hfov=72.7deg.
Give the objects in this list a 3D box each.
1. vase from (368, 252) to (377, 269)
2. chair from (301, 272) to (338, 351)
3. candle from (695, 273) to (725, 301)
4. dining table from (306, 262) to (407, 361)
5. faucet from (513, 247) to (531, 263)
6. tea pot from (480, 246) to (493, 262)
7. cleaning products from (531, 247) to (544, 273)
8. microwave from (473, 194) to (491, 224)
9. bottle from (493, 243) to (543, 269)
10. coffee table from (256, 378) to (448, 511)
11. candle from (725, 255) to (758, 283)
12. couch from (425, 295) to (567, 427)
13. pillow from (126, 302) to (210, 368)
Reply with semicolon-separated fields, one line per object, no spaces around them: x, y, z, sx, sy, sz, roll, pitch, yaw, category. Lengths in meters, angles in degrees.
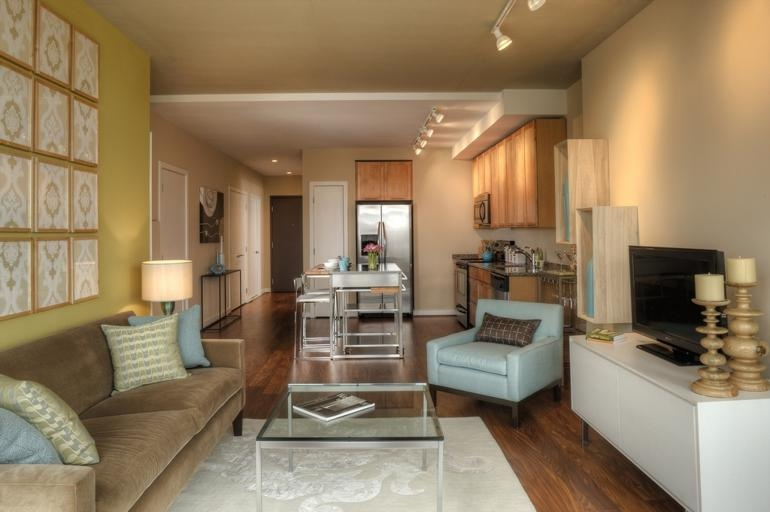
-0.155;0.060;6.735;0.095;0.221;0.228;-2;4;-6;vase
-0.928;0.820;7.424;0.359;0.666;1.005;0;3;-1;chair
2.097;0.200;3.465;0.175;0.195;0.175;1;3;10;candle
-0.332;0.867;6.944;1.159;0.790;1.633;-1;3;-3;dining table
1.908;-0.001;7.268;0.155;0.204;0.295;-1;4;-1;faucet
1.618;-0.034;8.362;0.252;0.325;0.192;2;6;15;tea pot
2.013;0.027;6.913;0.152;0.250;0.364;0;4;15;cleaning products
1.540;-0.754;8.299;0.290;0.473;0.557;1;-2;-1;microwave
1.942;0.015;7.300;0.200;0.256;0.667;1;3;-15;bottle
-0.232;1.223;3.664;0.937;0.531;0.898;1;0;1;coffee table
2.285;0.087;3.434;0.174;0.190;0.171;0;1;-7;candle
1.023;0.942;4.930;1.050;0.940;0.760;1;5;33;couch
-1.824;0.664;4.339;0.493;0.461;0.165;-9;-7;-35;pillow
